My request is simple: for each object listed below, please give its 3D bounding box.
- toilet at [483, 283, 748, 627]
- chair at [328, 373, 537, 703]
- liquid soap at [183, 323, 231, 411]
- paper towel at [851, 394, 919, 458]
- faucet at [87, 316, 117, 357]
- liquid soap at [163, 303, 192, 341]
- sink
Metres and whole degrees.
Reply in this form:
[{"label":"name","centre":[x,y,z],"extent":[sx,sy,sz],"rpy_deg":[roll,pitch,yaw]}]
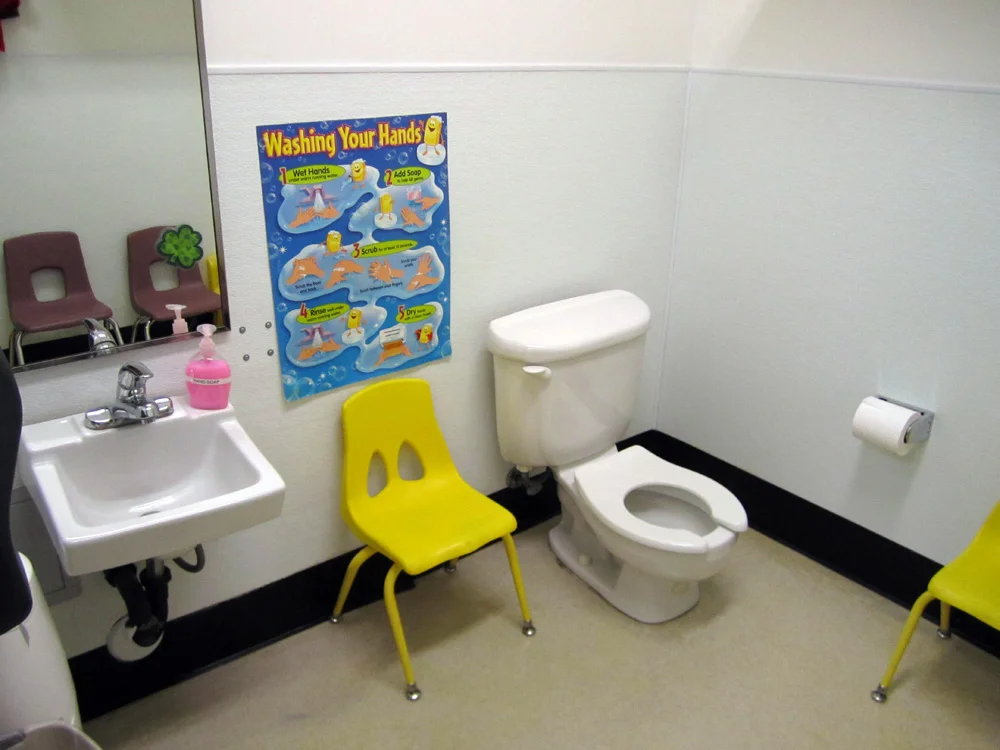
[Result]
[{"label":"toilet","centre":[0.464,0.337,2.619],"extent":[0.633,1.013,0.874],"rpy_deg":[-19,29,-30]},{"label":"chair","centre":[-0.257,0.561,2.488],"extent":[0.578,0.925,0.589],"rpy_deg":[-18,32,-35]},{"label":"liquid soap","centre":[-0.847,-0.017,2.098],"extent":[0.145,0.233,0.154],"rpy_deg":[7,11,9]},{"label":"paper towel","centre":[1.329,0.185,2.513],"extent":[0.189,0.167,0.159],"rpy_deg":[25,37,37]},{"label":"faucet","centre":[-1.082,-0.107,1.968],"extent":[0.052,0.093,0.064],"rpy_deg":[10,28,11]},{"label":"liquid soap","centre":[-0.916,-0.153,2.055],"extent":[0.076,0.151,0.052],"rpy_deg":[-7,13,-36]},{"label":"sink","centre":[-0.908,0.284,1.926],"extent":[0.513,0.250,0.534],"rpy_deg":[-20,35,-32]}]
